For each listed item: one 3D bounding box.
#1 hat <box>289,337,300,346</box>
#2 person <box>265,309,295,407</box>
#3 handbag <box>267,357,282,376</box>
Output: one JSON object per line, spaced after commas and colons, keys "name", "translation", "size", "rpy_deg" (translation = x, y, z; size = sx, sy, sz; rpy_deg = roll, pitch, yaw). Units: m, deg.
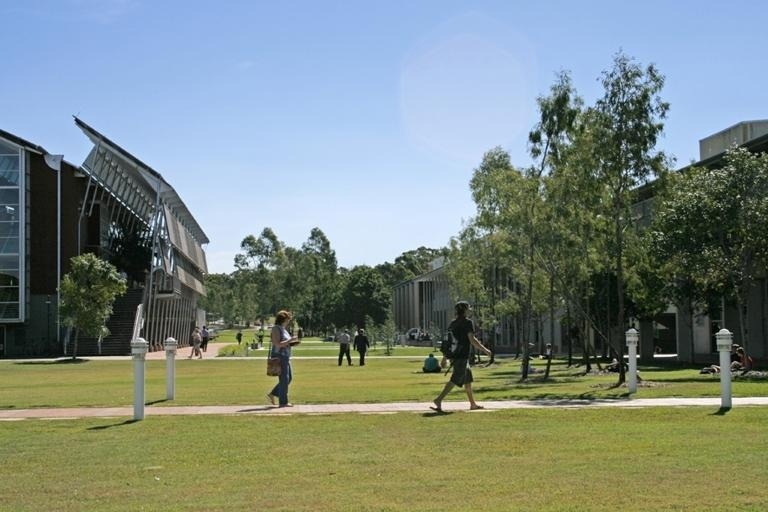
{"name": "hat", "translation": [-2.351, 2.199, 17.911], "size": [0.206, 0.227, 0.425], "rpy_deg": [9, 3, -6]}
{"name": "person", "translation": [-2.598, 2.616, 17.700], "size": [0.723, 2.403, 0.805], "rpy_deg": [0, -3, -5]}
{"name": "handbag", "translation": [-2.781, 2.784, 17.544], "size": [0.527, 0.619, 0.240], "rpy_deg": [1, -7, -4]}
